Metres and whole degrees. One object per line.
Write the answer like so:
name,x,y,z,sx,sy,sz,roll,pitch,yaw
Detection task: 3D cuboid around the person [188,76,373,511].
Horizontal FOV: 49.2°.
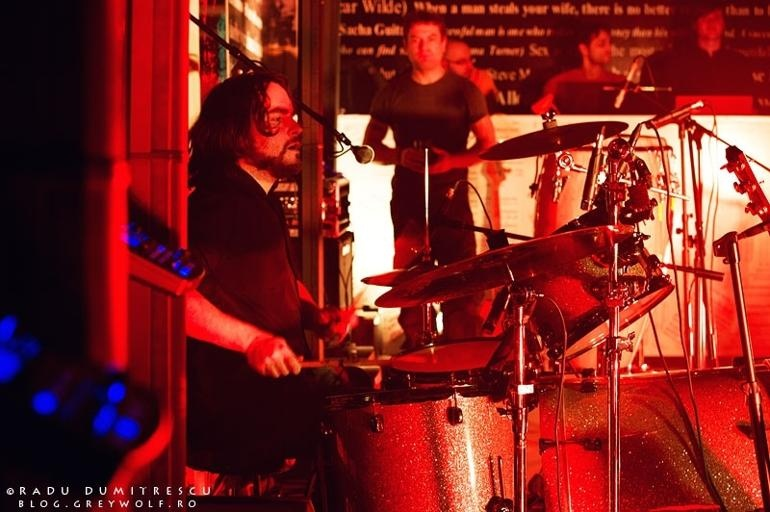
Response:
person,-0.493,0.059,3.358,0.710,1.700,0.640,12,-19,-37

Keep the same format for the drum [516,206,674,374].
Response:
drum,0.843,0.174,3.516,0.633,0.654,0.602,-20,-6,-9

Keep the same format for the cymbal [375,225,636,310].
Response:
cymbal,0.452,0.036,3.137,0.515,0.138,0.518,-24,7,-27

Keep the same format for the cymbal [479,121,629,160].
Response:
cymbal,0.832,-0.520,4.276,0.544,0.135,0.595,2,-7,13
